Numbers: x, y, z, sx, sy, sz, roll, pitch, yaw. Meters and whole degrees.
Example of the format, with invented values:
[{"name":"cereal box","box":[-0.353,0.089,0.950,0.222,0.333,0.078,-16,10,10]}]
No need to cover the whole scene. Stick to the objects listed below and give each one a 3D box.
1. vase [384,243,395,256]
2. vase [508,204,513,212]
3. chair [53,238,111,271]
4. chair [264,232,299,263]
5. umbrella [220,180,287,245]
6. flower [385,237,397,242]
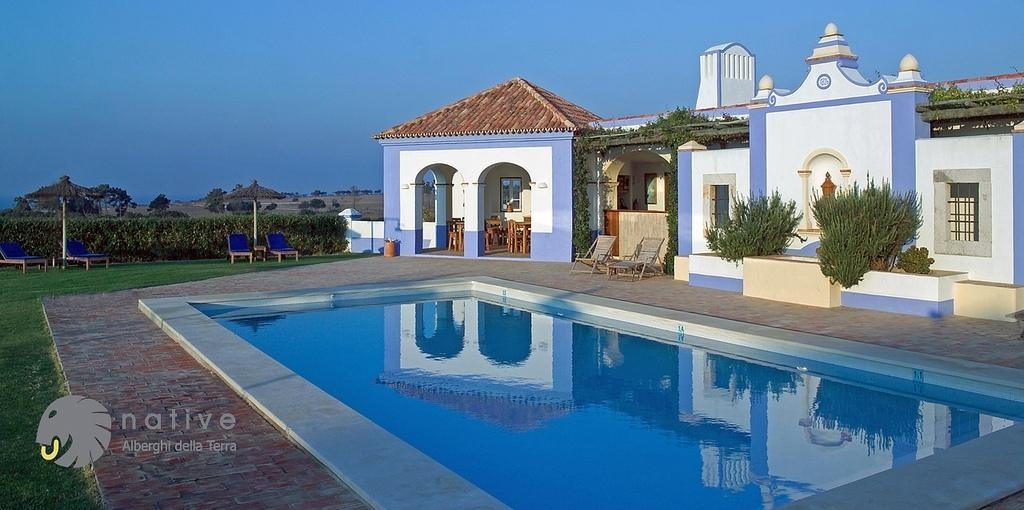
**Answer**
[{"name":"vase","box":[-5.259,-0.229,28.293,0.427,0.636,0.407,-1,15,-8]},{"name":"vase","box":[-0.132,-2.199,31.917,0.345,0.277,0.327,-1,-1,23]},{"name":"chair","box":[-16.464,0.030,25.499,2.110,1.051,1.158,2,3,40]},{"name":"chair","box":[-9.510,-0.318,27.679,1.185,1.104,1.707,-3,4,-40]},{"name":"umbrella","box":[-11.090,-1.791,28.302,1.968,2.873,2.710,2,14,5]},{"name":"flower","box":[-5.314,-0.590,28.534,0.524,0.097,0.565,8,14,27]}]
